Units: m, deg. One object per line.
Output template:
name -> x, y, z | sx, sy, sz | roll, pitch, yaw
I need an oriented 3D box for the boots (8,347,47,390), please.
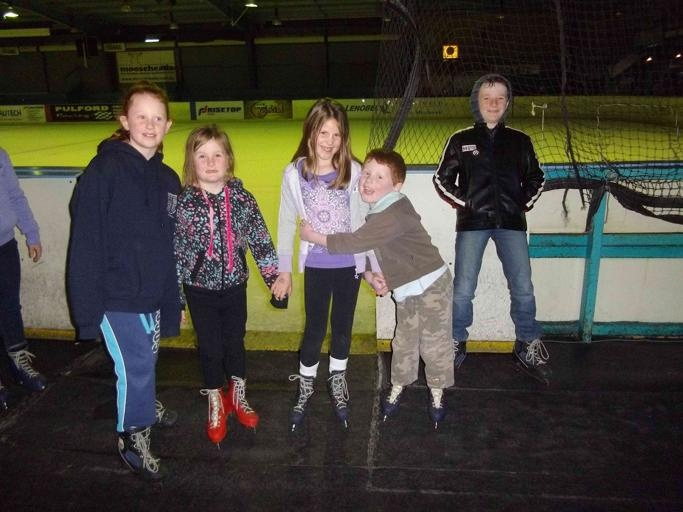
boots -> -2.408, 0.881, 4.633 | 0.336, 0.156, 0.123 | 39, 32, 15

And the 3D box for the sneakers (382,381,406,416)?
sneakers -> 0.369, 1.023, 4.336 | 0.099, 0.283, 0.122 | 22, -2, 10

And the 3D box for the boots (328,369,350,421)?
boots -> -0.011, 0.996, 4.269 | 0.123, 0.352, 0.158 | -5, -23, -11

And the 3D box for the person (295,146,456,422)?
person -> 0.353, 0.222, 4.185 | 0.859, 1.876, 0.406 | 1, 14, 5

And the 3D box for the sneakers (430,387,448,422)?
sneakers -> 0.678, 1.043, 4.224 | 0.089, 0.249, 0.100 | -4, -7, 7

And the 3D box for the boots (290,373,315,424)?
boots -> -0.289, 1.027, 4.285 | 0.125, 0.365, 0.158 | 9, -19, -13

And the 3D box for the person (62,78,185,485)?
person -> -1.284, 0.172, 3.759 | 0.762, 2.415, 0.523 | -12, 18, -38

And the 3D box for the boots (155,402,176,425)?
boots -> -1.235, 1.123, 4.250 | 0.197, 0.073, 0.076 | 11, 42, -4

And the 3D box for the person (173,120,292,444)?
person -> -0.752, 0.200, 4.051 | 0.654, 2.089, 0.431 | -4, 15, -14
